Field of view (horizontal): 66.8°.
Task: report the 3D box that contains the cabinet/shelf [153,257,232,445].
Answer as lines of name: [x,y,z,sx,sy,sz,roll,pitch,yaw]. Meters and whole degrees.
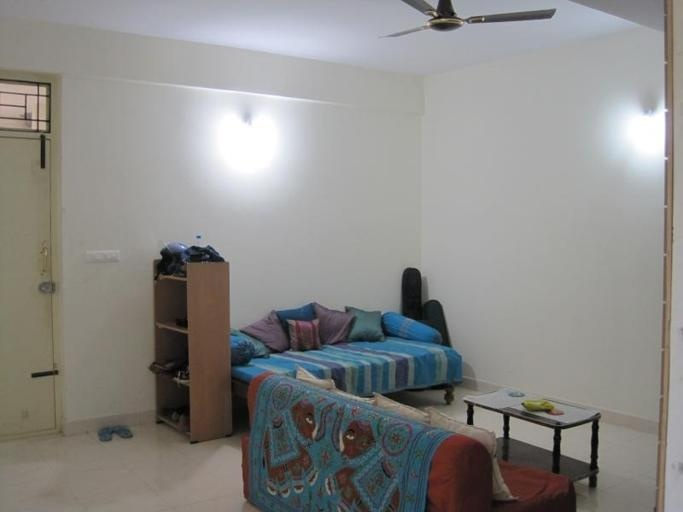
cabinet/shelf: [-1.385,0.817,4.801,0.841,1.578,0.511,4,9,43]

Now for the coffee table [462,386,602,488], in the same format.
coffee table: [1.527,1.093,3.944,0.578,0.584,1.069,-6,7,-33]

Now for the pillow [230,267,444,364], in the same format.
pillow: [0.237,0.643,5.980,1.736,1.147,0.990,0,-1,-26]

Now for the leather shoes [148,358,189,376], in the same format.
leather shoes: [-1.603,1.039,4.825,0.305,0.109,0.193,-6,-4,13]
